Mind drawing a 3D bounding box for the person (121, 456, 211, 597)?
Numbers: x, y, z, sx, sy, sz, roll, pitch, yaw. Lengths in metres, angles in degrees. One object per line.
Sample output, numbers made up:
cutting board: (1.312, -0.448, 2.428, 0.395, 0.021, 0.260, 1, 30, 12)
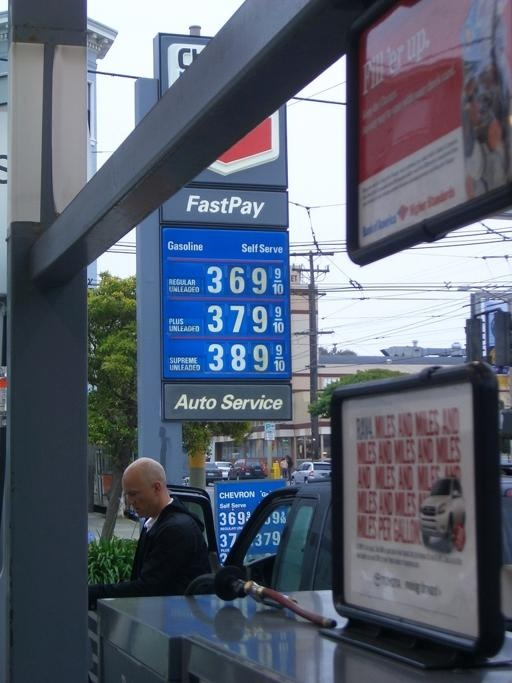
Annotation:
person: (-0.431, 0.887, 4.472, 0.414, 0.641, 0.825, 1, -8, -9)
